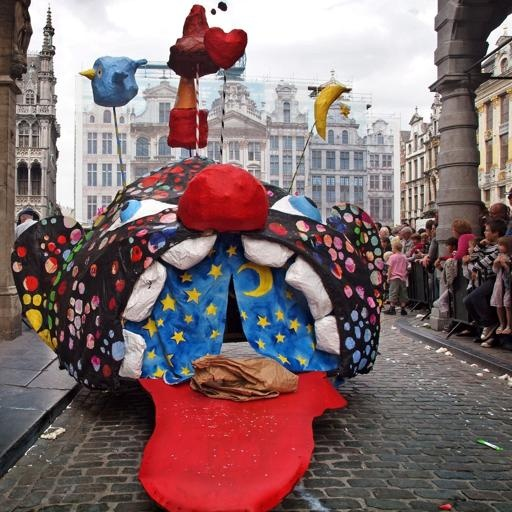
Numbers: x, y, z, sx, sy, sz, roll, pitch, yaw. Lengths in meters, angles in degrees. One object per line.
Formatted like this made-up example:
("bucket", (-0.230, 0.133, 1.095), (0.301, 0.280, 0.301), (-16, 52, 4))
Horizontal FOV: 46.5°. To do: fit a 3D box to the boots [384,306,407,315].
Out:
("boots", (3.158, 1.221, 13.506), (0.202, 0.219, 0.563), (1, 2, -8))
